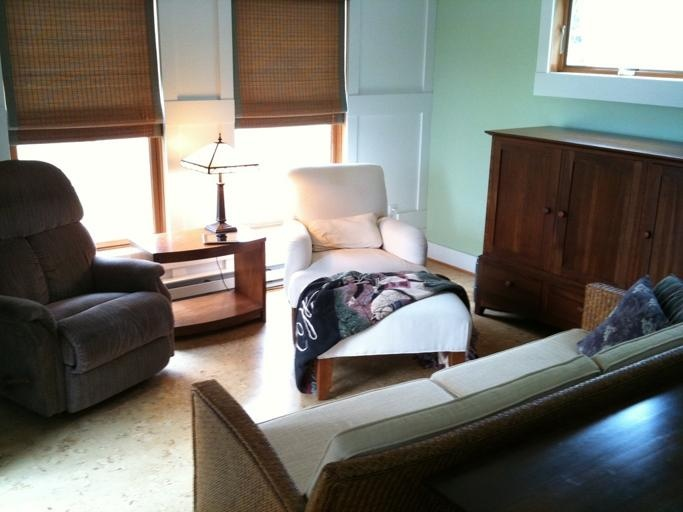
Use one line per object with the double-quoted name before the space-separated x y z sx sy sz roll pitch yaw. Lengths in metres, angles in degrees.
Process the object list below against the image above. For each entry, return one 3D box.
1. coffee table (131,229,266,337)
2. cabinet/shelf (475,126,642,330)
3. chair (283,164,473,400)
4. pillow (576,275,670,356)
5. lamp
"coffee table" -1.005 0.182 3.710 0.827 0.615 0.531 -11 19 -36
"cabinet/shelf" 1.476 -0.195 3.397 0.577 1.177 1.260 -9 19 -32
"chair" 0.101 0.030 3.504 1.023 1.060 1.704 -4 17 -14
"pillow" 1.317 0.250 2.313 0.117 0.387 0.366 33 59 -2
"lamp" -0.871 -0.491 3.717 0.578 0.615 0.599 16 13 40
